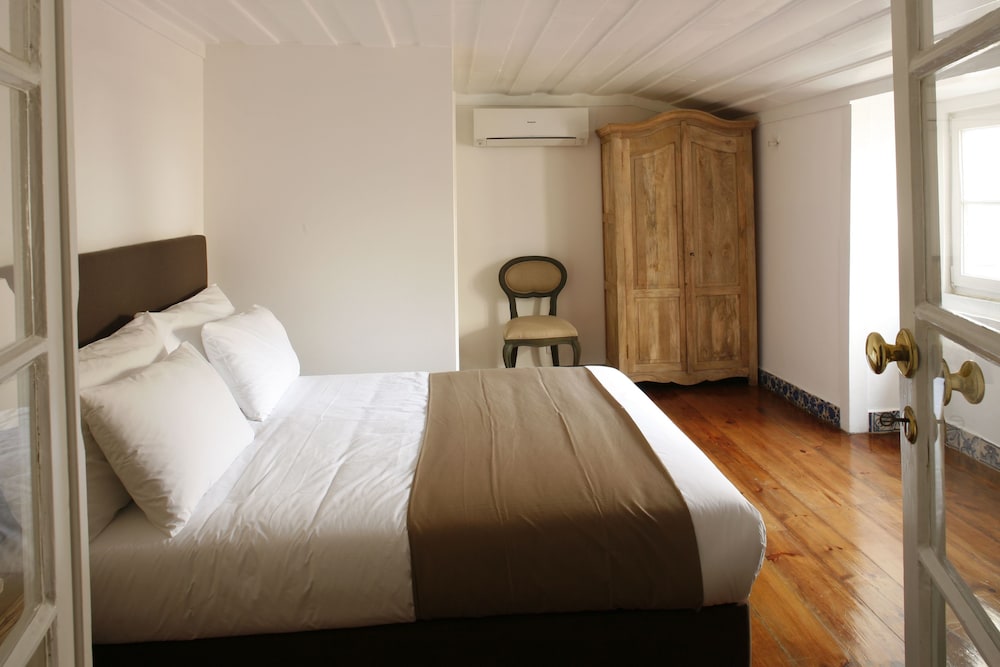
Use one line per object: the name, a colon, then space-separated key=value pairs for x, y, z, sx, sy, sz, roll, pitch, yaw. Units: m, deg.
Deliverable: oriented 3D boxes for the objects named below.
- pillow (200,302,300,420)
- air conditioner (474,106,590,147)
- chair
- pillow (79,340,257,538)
pillow: x=-1.171 y=0.142 z=3.199 sx=0.202 sy=0.194 sz=0.511 roll=11 pitch=11 yaw=-7
air conditioner: x=0.261 y=-1.704 z=5.690 sx=0.934 sy=0.297 sz=0.151 roll=-4 pitch=14 yaw=-8
chair: x=0.277 y=-0.219 z=5.653 sx=0.754 sy=1.185 sz=0.867 roll=-1 pitch=6 yaw=-5
pillow: x=-1.146 y=0.360 z=2.392 sx=0.177 sy=0.458 sz=0.664 roll=-30 pitch=11 yaw=16
